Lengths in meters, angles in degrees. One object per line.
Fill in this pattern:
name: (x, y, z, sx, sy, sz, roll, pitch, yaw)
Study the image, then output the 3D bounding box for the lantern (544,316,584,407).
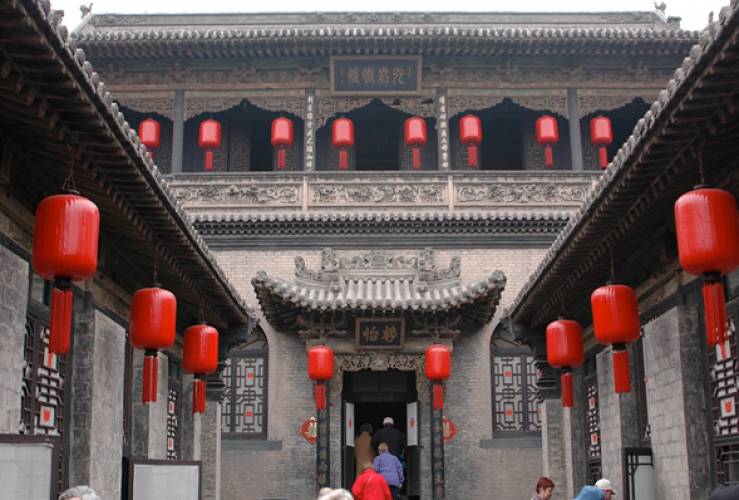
lantern: (2.549, 1.405, 16.943, 0.446, 1.183, 0.455, -3, -22, 7)

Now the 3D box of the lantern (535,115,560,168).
lantern: (3.198, -1.960, 23.492, 0.378, 0.974, 0.986, -3, -23, 8)

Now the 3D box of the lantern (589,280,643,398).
lantern: (2.902, 1.003, 15.273, 0.530, 1.213, 0.462, -4, -22, 11)

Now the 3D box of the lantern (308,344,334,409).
lantern: (-0.766, 1.923, 20.369, 0.401, 1.040, 0.407, 20, -29, -40)

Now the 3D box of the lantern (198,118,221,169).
lantern: (-2.879, -1.876, 23.466, 0.385, 0.948, 0.968, 4, -23, -8)

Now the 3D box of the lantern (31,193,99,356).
lantern: (-3.197, 0.171, 13.648, 0.661, 1.677, 0.501, 6, -22, -14)

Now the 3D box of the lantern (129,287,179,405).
lantern: (-2.605, 1.086, 15.607, 0.516, 1.319, 0.429, 4, -22, -11)

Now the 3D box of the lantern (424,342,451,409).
lantern: (1.089, 1.975, 20.617, 0.373, 1.019, 0.779, -2, -22, 5)

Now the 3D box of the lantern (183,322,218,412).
lantern: (-2.267, 1.554, 17.460, 0.453, 1.105, 0.482, 4, -22, -9)
